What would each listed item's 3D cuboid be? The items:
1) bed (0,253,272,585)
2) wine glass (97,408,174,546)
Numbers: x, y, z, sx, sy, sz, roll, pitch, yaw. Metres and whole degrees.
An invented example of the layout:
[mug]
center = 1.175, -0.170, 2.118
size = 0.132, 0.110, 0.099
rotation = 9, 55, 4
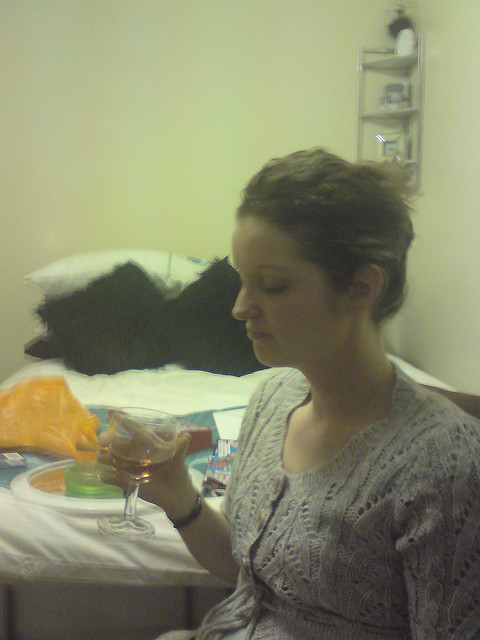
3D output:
[bed]
center = -0.172, 0.100, 0.943
size = 0.269, 0.193, 0.457
rotation = 0, 19, -1
[wine glass]
center = -0.102, 0.145, 0.670
size = 0.063, 0.126, 0.065
rotation = 0, 16, -28
